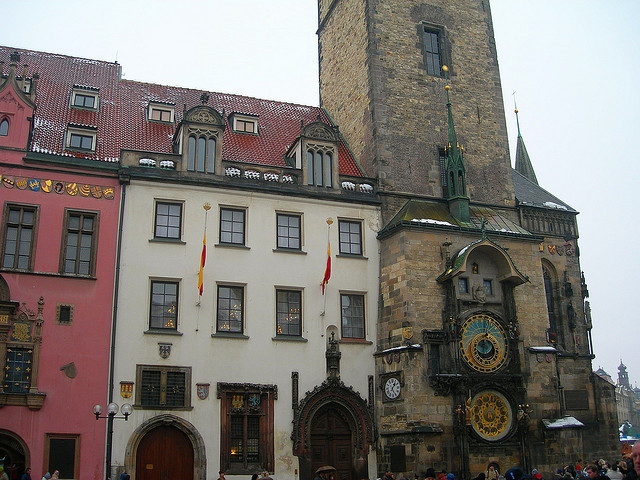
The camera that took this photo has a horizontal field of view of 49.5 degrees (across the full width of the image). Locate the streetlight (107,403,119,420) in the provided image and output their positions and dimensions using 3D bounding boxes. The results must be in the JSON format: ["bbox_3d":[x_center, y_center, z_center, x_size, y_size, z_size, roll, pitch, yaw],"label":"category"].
[{"bbox_3d":[-7.351,6.018,24.669,0.285,0.526,1.905,3,-20,-15],"label":"streetlight"}]

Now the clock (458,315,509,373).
[{"bbox_3d":[6.725,4.373,28.833,2.189,2.435,0.401,-1,-17,-20],"label":"clock"}]

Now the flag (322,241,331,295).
[{"bbox_3d":[0.295,1.086,29.591,0.417,2.268,0.775,-2,-18,0],"label":"flag"}]

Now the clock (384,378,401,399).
[{"bbox_3d":[3.007,6.050,28.394,0.109,0.837,0.794,15,1,-42],"label":"clock"}]
